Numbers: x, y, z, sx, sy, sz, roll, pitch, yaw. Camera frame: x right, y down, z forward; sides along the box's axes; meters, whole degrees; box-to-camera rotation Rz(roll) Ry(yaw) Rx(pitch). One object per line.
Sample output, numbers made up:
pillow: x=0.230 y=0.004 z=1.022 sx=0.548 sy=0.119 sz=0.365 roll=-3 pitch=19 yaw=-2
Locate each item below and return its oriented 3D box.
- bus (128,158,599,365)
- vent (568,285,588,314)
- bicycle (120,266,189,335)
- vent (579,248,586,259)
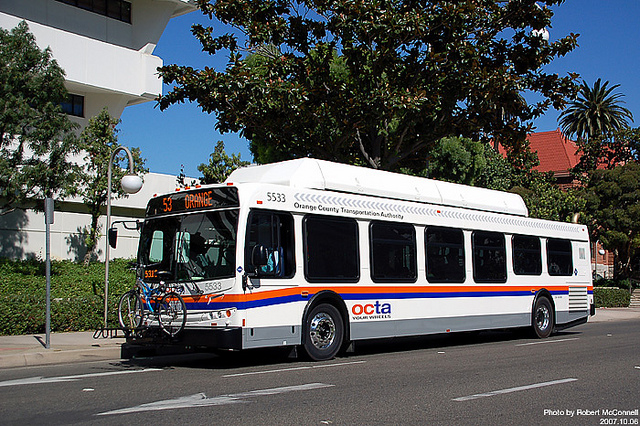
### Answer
bus: x=2.966 y=1.677 z=17.157 sx=17.596 sy=5.266 sz=3.340 roll=6 pitch=-11 yaw=-36
vent: x=9.867 y=3.334 z=20.231 sx=0.247 sy=1.005 sz=1.271 roll=-8 pitch=-12 yaw=44
bicycle: x=-4.089 y=2.096 z=12.752 sx=2.223 sy=1.523 sz=1.236 roll=-4 pitch=-10 yaw=30
vent: x=10.298 y=1.615 z=20.765 sx=0.364 sy=0.667 sz=0.061 roll=7 pitch=-14 yaw=-31
